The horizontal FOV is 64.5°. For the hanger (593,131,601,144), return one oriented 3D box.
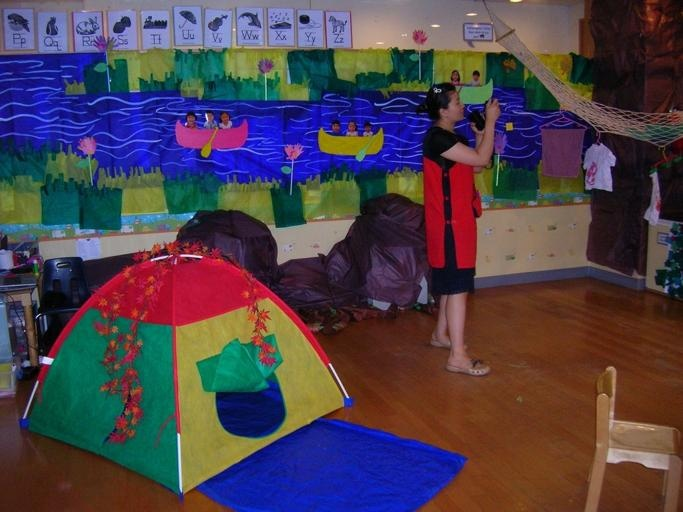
[{"bbox_3d":[2.663,-1.234,5.647,0.051,0.126,0.139,-2,9,-4],"label":"hanger"}]

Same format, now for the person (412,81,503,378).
[{"bbox_3d":[0.825,-0.186,3.812,0.484,2.007,0.447,0,9,9],"label":"person"}]

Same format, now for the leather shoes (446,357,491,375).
[{"bbox_3d":[0.883,0.777,3.792,0.187,0.075,0.126,1,8,28],"label":"leather shoes"}]

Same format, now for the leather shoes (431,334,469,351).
[{"bbox_3d":[0.846,0.664,4.227,0.266,0.208,0.105,-1,4,16],"label":"leather shoes"}]

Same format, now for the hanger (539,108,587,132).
[{"bbox_3d":[2.354,-1.438,5.725,0.526,0.211,0.105,-5,10,-16],"label":"hanger"}]

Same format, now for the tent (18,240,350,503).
[{"bbox_3d":[-0.958,0.266,3.078,1.316,0.965,1.360,10,18,35],"label":"tent"}]
